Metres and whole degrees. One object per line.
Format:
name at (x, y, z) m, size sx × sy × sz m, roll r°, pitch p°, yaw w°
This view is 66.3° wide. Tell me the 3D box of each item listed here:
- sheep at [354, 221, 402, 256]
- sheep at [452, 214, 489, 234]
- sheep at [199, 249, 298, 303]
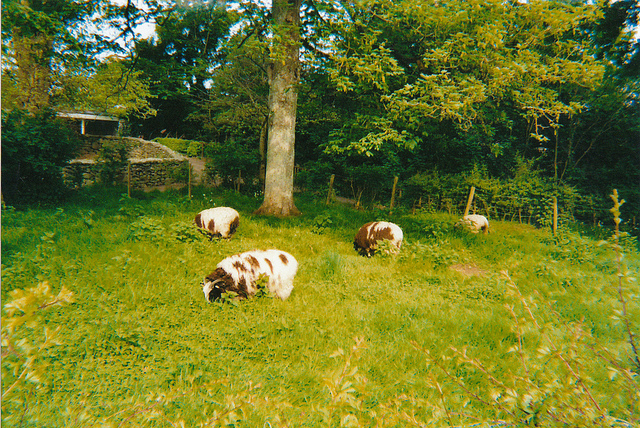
sheep at (1.833, 0.779, 15.487) m, size 1.553 × 1.084 × 0.669 m, roll 7°, pitch 9°, yaw 15°
sheep at (5.516, 0.307, 17.652) m, size 1.262 × 0.514 × 0.874 m, roll -1°, pitch 11°, yaw -33°
sheep at (-1.793, 1.659, 12.803) m, size 2.318 × 1.414 × 1.155 m, roll -2°, pitch 7°, yaw -9°
